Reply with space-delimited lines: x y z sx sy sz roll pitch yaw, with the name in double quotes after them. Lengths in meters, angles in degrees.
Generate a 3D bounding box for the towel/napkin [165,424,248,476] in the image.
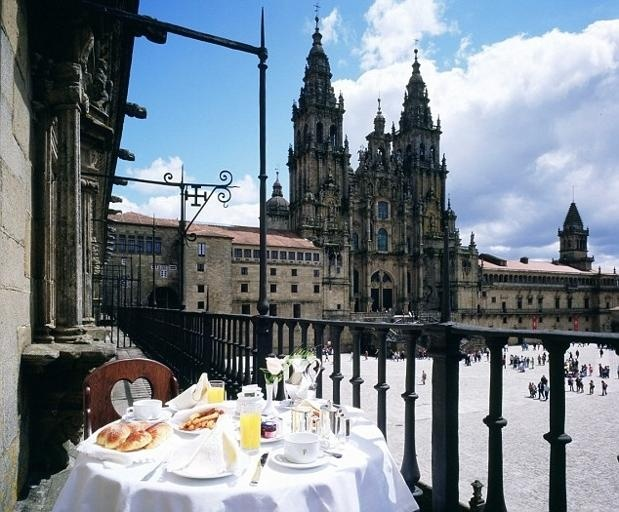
-1.194 2.205 9.781 0.730 0.348 0.952 11 12 -29 "towel/napkin"

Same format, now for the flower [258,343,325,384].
-0.194 1.438 10.813 0.861 0.462 0.501 3 -8 -20 "flower"

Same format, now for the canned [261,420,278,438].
-0.489 2.123 10.087 0.161 0.185 0.179 -7 -9 21 "canned"

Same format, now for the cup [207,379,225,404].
-1.180 1.737 10.619 0.231 0.297 0.235 2 1 0 "cup"
